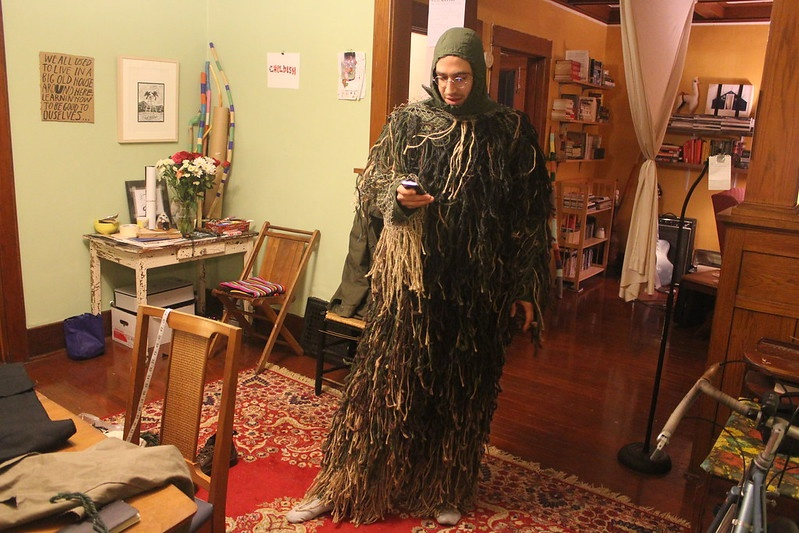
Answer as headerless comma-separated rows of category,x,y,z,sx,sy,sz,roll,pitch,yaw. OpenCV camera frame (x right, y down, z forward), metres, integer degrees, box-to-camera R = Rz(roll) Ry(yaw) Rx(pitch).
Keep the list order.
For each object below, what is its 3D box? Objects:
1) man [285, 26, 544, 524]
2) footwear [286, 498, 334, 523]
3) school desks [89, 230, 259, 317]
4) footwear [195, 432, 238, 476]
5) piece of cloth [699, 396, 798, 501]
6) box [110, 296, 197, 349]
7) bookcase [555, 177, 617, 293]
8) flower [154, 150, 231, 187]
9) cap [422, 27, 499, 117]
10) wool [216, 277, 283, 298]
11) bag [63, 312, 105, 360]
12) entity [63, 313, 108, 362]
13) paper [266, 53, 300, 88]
man,0.168,0.119,2.827,1.137,2.470,0.398,0,15,-9
footwear,-0.475,1.268,2.979,0.198,0.079,0.106,2,11,-13
school desks,-1.939,-0.207,4.636,0.758,0.737,0.997,10,12,36
footwear,-1.015,1.026,3.085,0.308,0.112,0.103,-25,38,19
piece of cloth,1.388,0.761,2.323,0.356,0.085,0.358,15,34,19
box,-1.550,0.344,3.463,0.398,0.253,0.398,14,18,32
bookcase,2.303,-0.383,7.071,0.468,1.292,1.386,4,11,28
flower,-1.712,-0.707,4.619,0.419,0.284,0.424,6,6,43
cap,0.308,-0.906,2.673,0.316,0.398,0.161,4,15,4
wool,-1.156,0.167,4.484,0.372,0.101,0.405,13,17,34
bag,-2.489,0.559,4.453,0.285,0.357,0.174,-14,2,-36
entity,-2.469,0.553,4.493,0.299,0.376,0.184,-14,0,-11
paper,-0.932,-1.589,4.582,0.306,0.271,0.032,5,8,30
